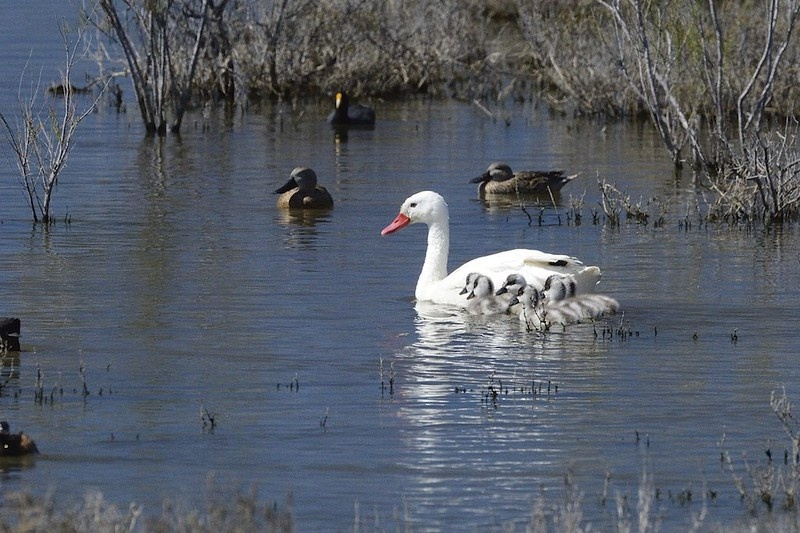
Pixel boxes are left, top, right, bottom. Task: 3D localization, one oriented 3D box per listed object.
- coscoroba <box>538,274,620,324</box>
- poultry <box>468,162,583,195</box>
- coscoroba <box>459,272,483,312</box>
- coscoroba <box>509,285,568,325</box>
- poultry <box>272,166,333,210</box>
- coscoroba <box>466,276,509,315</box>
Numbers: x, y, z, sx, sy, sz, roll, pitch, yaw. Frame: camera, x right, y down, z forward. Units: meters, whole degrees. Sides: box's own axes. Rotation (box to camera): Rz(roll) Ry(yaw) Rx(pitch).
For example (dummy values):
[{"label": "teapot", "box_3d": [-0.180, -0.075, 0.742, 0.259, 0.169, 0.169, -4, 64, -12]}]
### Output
[{"label": "coscoroba", "box_3d": [2.344, 0.370, 18.584, 0.949, 0.588, 0.547, -15, 10, -14]}, {"label": "poultry", "box_3d": [2.565, -1.855, 29.037, 2.445, 0.959, 0.780, 0, -18, 4]}, {"label": "coscoroba", "box_3d": [0.929, 0.301, 18.908, 0.154, 0.413, 0.314, -10, 40, -35]}, {"label": "coscoroba", "box_3d": [1.796, 0.475, 18.534, 0.697, 0.451, 0.423, 8, 14, 38]}, {"label": "poultry", "box_3d": [-1.924, -1.524, 27.219, 1.112, 0.868, 0.810, -3, -6, 43]}, {"label": "coscoroba", "box_3d": [1.139, 0.371, 18.837, 0.382, 0.445, 0.652, -13, 12, -26]}]
